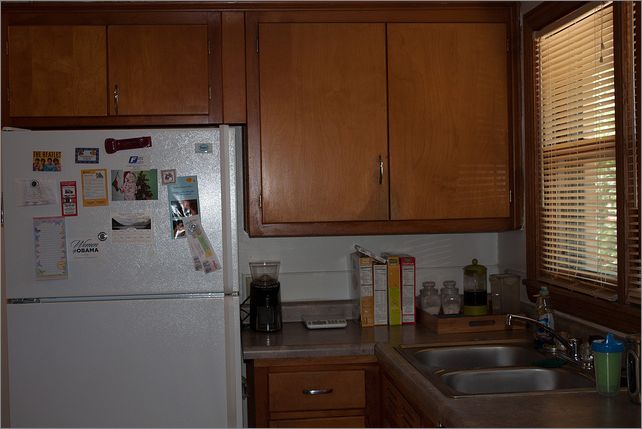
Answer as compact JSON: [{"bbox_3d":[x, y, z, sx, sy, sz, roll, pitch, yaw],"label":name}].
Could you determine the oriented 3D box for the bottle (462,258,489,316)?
[{"bbox_3d":[0.900,0.408,3.098,0.137,0.313,0.251,-2,3,16],"label":"bottle"}]

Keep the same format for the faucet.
[{"bbox_3d":[1.072,0.560,2.559,0.269,0.204,0.324,0,4,32],"label":"faucet"}]

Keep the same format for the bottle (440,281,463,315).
[{"bbox_3d":[0.759,0.484,3.109,0.114,0.183,0.175,-2,3,12],"label":"bottle"}]

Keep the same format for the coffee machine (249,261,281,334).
[{"bbox_3d":[-0.319,0.468,3.047,0.181,0.386,0.160,-3,3,-5],"label":"coffee machine"}]

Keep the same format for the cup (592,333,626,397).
[{"bbox_3d":[1.179,0.606,2.183,0.104,0.242,0.147,-1,4,29],"label":"cup"}]

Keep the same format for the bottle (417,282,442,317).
[{"bbox_3d":[0.630,0.490,3.113,0.137,0.178,0.146,-2,3,0],"label":"bottle"}]
